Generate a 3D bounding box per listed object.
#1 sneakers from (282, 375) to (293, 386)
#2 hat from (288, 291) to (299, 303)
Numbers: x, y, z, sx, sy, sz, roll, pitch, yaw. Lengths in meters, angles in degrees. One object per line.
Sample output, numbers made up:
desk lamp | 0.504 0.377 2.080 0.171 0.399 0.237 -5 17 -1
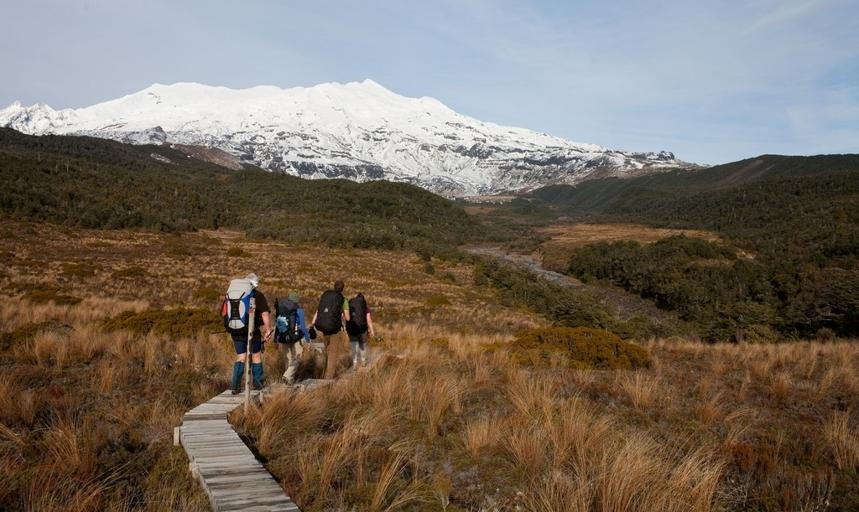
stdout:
sneakers | -4.909 4.314 19.390 0.310 0.271 0.245 4 4 15
hat | -4.766 1.482 20.073 0.399 0.212 0.554 8 15 7
